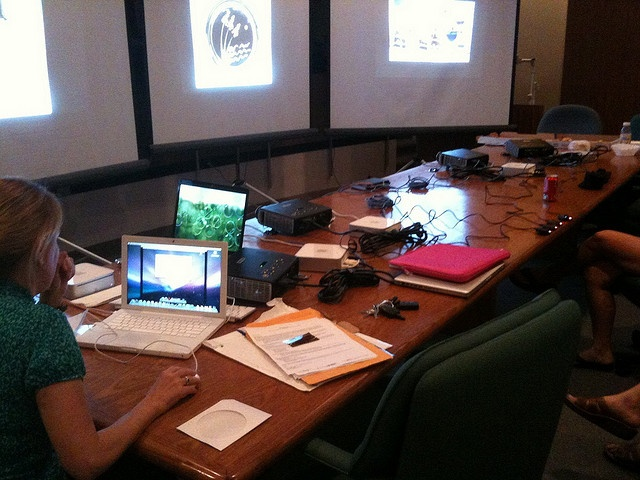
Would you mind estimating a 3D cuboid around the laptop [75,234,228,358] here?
[{"bbox_3d":[-0.484,0.164,1.584,0.446,0.325,0.357,6,17,15],"label":"laptop"}]

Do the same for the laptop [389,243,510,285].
[{"bbox_3d":[0.490,0.094,1.908,0.264,0.064,0.365,12,18,40],"label":"laptop"}]

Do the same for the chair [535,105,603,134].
[{"bbox_3d":[2.386,-1.160,4.822,0.544,0.259,0.130,7,19,29],"label":"chair"}]

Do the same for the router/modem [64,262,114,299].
[{"bbox_3d":[-0.853,0.128,1.867,0.158,0.111,0.154,13,16,23],"label":"router/modem"}]

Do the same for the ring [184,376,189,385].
[{"bbox_3d":[-0.344,0.367,1.303,0.012,0.017,0.015,2,7,-4],"label":"ring"}]

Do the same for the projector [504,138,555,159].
[{"bbox_3d":[1.531,-0.680,3.769,0.226,0.071,0.230,-2,17,-11],"label":"projector"}]

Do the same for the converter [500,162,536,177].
[{"bbox_3d":[1.339,-0.483,3.379,0.146,0.045,0.148,11,24,34],"label":"converter"}]

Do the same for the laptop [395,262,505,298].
[{"bbox_3d":[0.485,0.098,1.905,0.312,0.082,0.381,10,17,35],"label":"laptop"}]
